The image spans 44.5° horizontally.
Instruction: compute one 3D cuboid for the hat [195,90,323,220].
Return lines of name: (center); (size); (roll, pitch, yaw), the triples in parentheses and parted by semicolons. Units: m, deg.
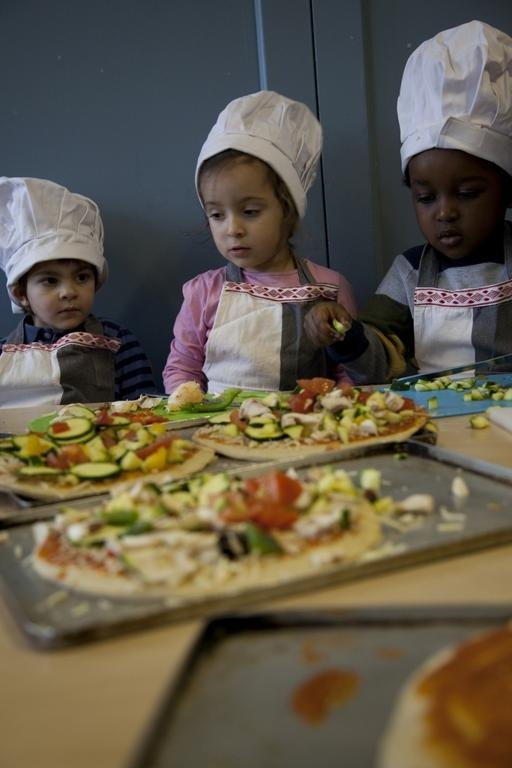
hat: (0.055, -0.545, 1.403); (0.252, 0.241, 0.311); (0, -30, 9)
